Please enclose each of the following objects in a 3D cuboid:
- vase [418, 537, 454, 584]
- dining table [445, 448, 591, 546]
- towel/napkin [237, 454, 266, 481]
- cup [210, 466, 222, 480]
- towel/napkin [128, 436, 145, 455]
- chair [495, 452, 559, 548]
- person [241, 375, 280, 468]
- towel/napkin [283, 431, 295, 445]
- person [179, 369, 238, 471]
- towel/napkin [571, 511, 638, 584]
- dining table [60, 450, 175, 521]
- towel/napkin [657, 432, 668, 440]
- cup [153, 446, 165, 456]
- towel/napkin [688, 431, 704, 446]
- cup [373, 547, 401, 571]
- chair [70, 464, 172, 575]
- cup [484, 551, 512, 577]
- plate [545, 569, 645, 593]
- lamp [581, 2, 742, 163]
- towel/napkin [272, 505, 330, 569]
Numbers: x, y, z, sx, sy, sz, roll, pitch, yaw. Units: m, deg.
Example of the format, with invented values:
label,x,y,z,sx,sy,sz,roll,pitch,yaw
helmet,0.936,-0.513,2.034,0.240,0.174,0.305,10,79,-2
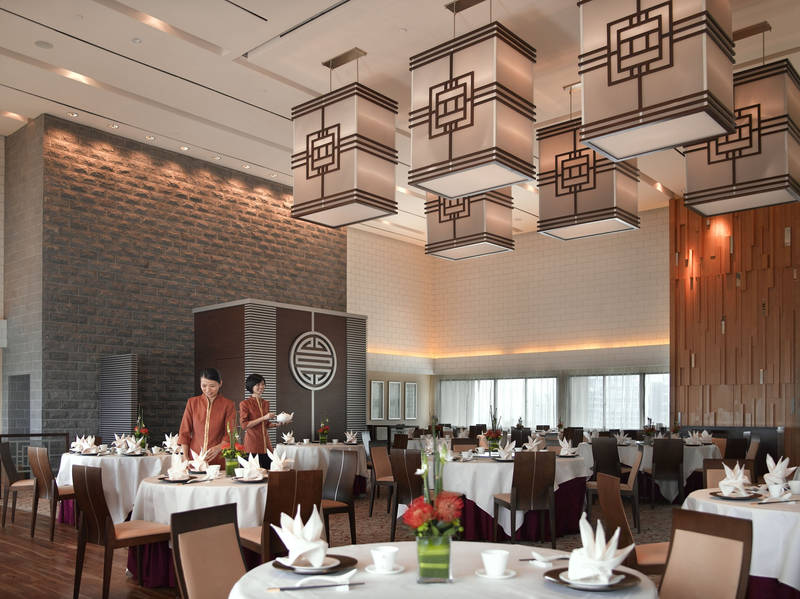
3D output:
label,x,y,z,sx,sy,sz,roll,pitch,yaw
vase,0.190,1.392,3.615,0.220,0.244,0.227,4,-13,-17
dining table,1.412,2.217,8.178,1.058,1.843,1.233,2,-6,-19
towel/napkin,-1.326,1.503,5.990,0.232,0.108,0.237,6,-25,-8
cup,-1.679,1.558,6.106,0.100,0.094,0.083,-10,-14,35
towel/napkin,-3.465,1.907,8.791,0.256,0.255,0.266,1,-9,-16
chair,1.403,2.209,7.519,0.667,1.000,0.620,0,-10,1
person,-1.679,1.397,7.931,0.405,1.077,2.342,2,-12,-11
towel/napkin,-1.907,2.344,11.409,0.281,0.162,0.281,3,-40,-12
person,-1.939,1.207,6.902,0.521,0.969,1.033,6,-13,-30
towel/napkin,1.034,1.267,3.565,0.356,0.228,0.367,1,-9,0
dining table,-3.433,2.149,8.210,1.227,0.665,1.256,4,-9,-28
towel/napkin,5.040,2.600,12.932,0.158,0.120,1.597,-4,-13,21
cup,-3.115,1.955,8.688,0.148,0.095,0.209,-1,-18,1
towel/napkin,5.041,2.376,11.487,0.272,0.115,0.264,-20,11,-11
cup,-0.075,1.410,3.704,0.121,0.091,0.120,-2,-9,0
chair,-2.479,1.858,6.160,0.899,1.254,0.838,2,-6,-41
cup,0.520,1.414,3.629,0.123,0.104,0.133,-3,-13,-1
plate,1.021,1.470,3.548,0.492,0.063,0.343,-3,-12,15
lamp,2.646,-2.436,7.011,1.487,1.577,0.712,-7,-12,33
towel/napkin,-0.547,1.335,3.842,0.312,0.345,0.302,-11,-11,-2
